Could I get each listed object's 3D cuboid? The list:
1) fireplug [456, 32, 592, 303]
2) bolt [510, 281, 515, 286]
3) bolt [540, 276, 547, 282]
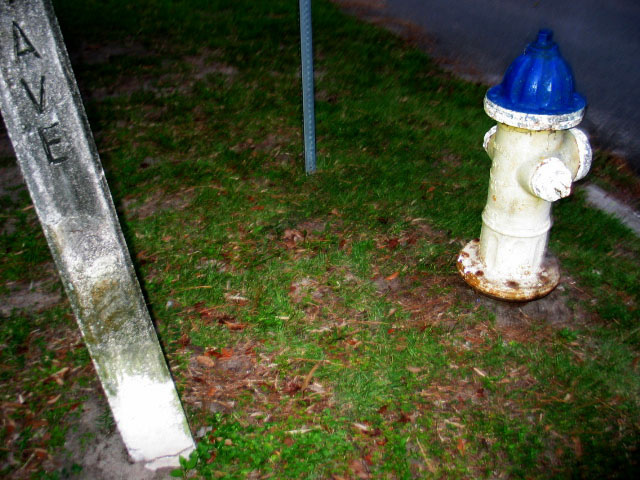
[{"bbox_3d":[1.600,-0.484,5.033,0.847,2.067,0.735,14,37,19],"label":"fireplug"},{"bbox_3d":[1.580,0.353,5.314,0.031,0.030,0.007,-7,10,2],"label":"bolt"},{"bbox_3d":[1.833,0.316,5.320,0.039,0.009,0.037,-6,24,-11],"label":"bolt"}]
